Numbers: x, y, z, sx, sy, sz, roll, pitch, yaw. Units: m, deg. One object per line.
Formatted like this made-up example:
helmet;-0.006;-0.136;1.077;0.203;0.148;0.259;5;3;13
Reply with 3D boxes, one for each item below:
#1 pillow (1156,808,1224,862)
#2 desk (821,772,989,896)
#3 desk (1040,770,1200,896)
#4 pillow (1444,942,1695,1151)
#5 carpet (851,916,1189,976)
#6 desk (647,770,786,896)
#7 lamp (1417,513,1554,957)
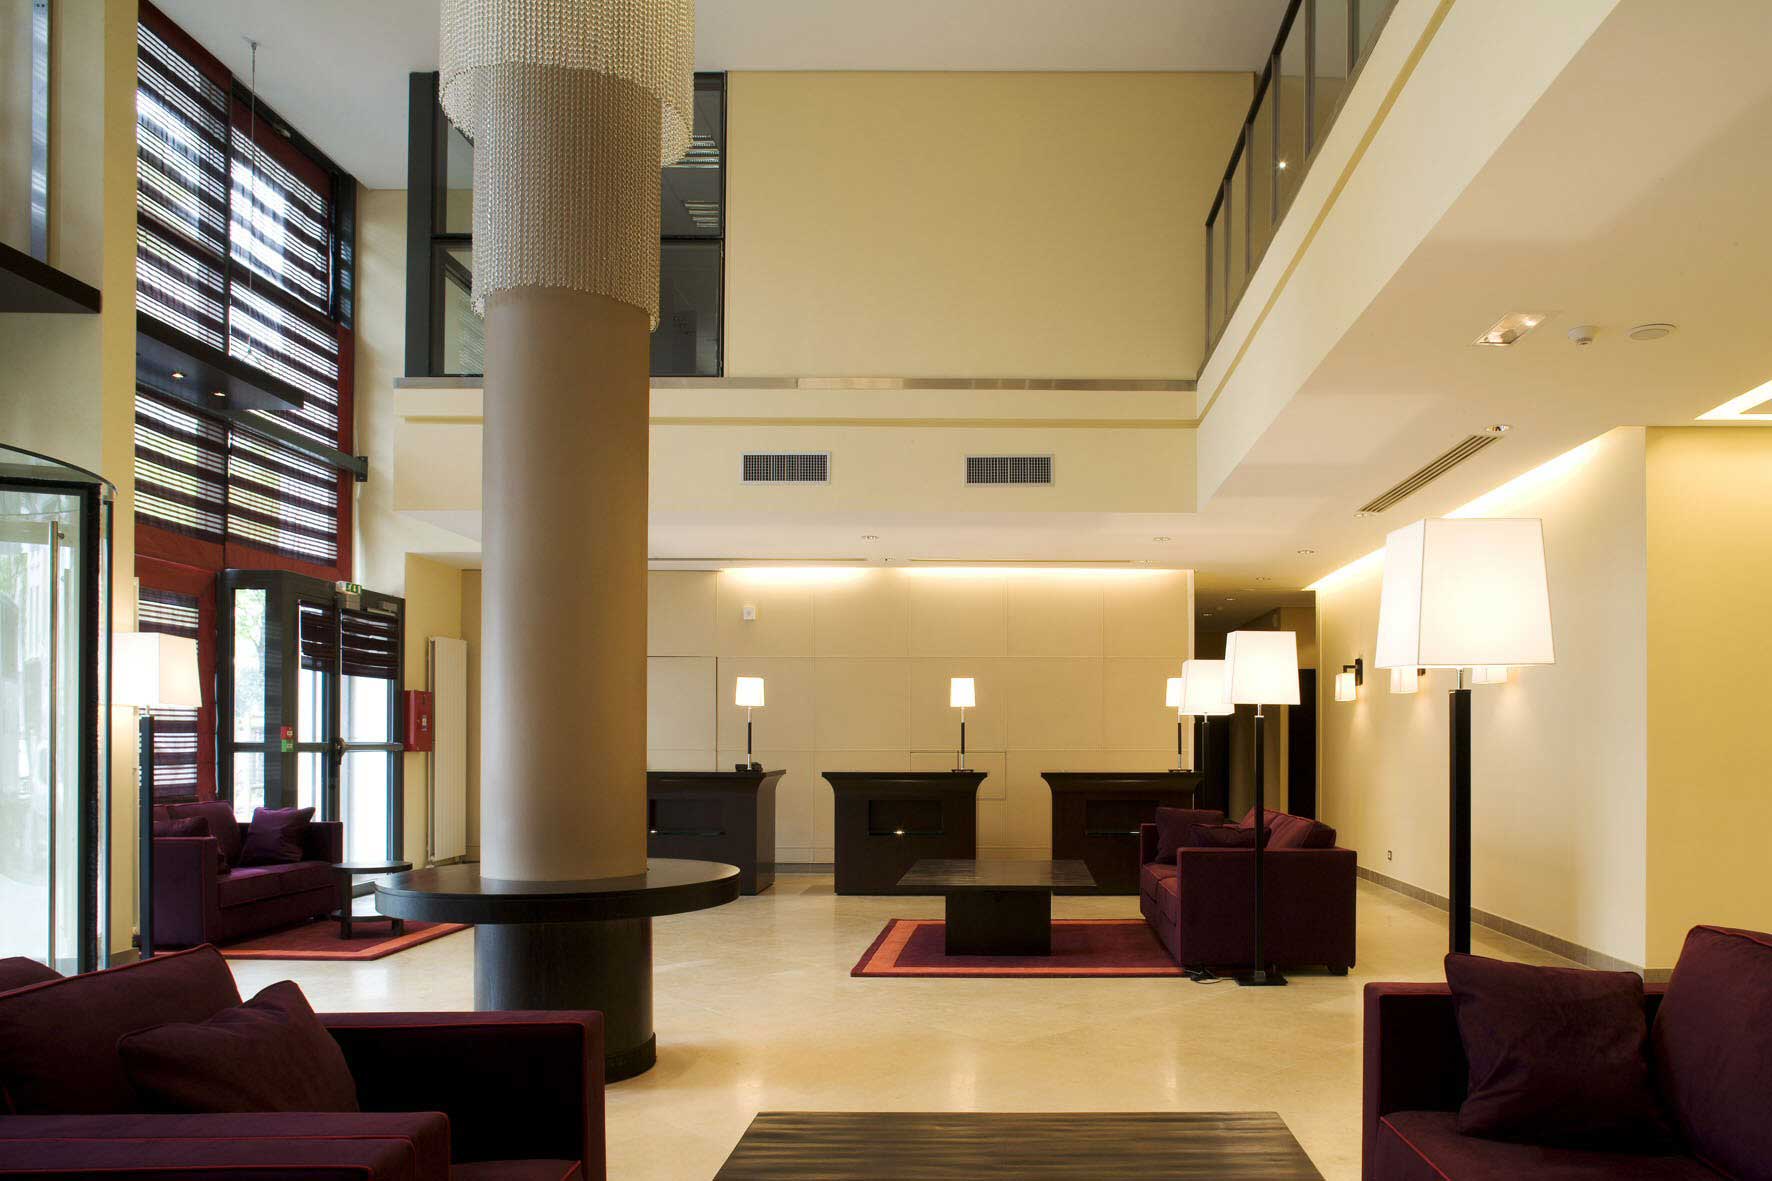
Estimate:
pillow;2.406;1.902;11.450;0.479;0.494;0.500;1;-14;19
desk;0.184;2.108;13.547;1.568;1.151;1.385;-2;8;-8
desk;2.205;2.520;13.256;1.519;1.346;1.030;2;-50;7
pillow;2.653;1.805;5.593;0.814;0.817;0.318;1;-21;4
carpet;0.902;2.595;10.583;2.195;0.168;2.104;0;1;0
desk;-1.813;2.272;13.576;1.489;1.155;1.451;-1;-5;15
lamp;2.398;0.757;5.988;0.541;1.782;0.540;21;-23;-29
